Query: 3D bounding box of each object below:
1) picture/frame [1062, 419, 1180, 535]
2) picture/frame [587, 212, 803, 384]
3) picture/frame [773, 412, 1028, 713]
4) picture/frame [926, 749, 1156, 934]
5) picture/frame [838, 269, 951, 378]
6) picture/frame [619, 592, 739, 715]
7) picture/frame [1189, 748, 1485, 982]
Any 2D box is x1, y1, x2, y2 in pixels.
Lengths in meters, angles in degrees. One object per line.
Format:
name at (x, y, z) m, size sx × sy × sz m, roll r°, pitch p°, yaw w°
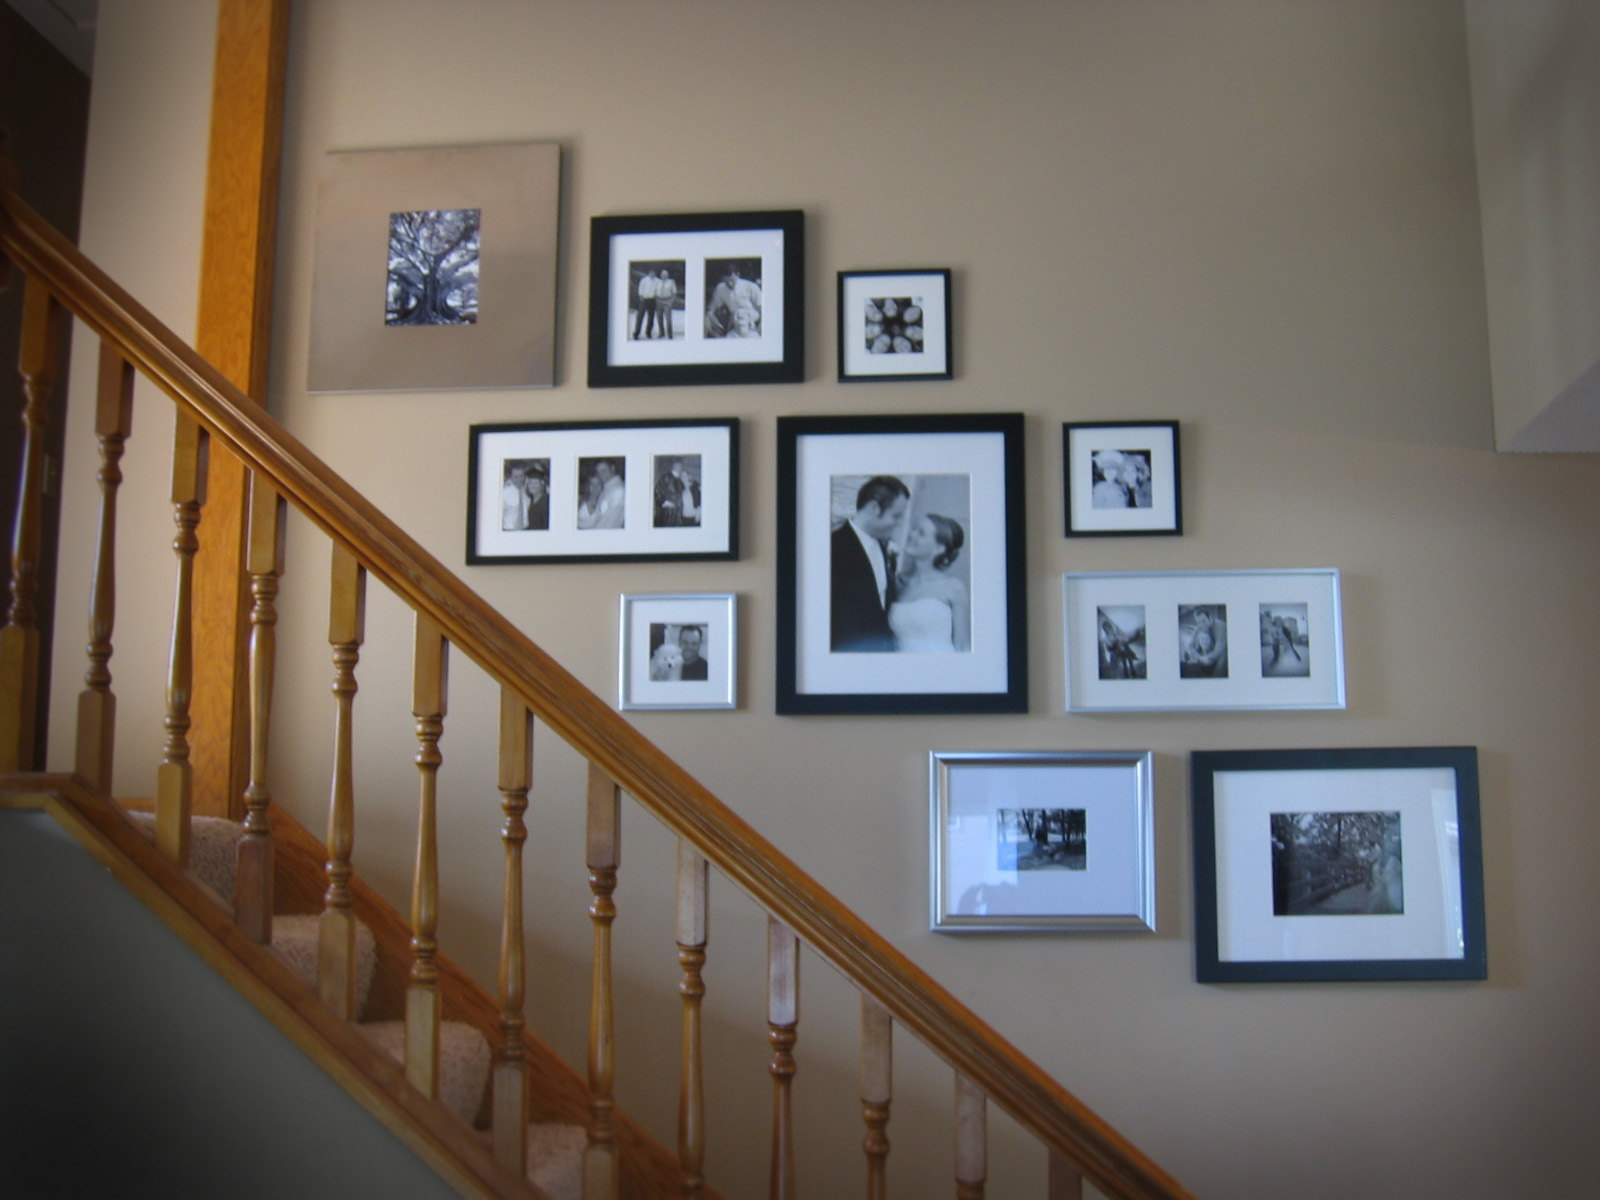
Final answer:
picture/frame at (0.929, -0.344, 4.353) m, size 0.279 × 0.324 × 0.013 m, roll 0°, pitch -6°, yaw 0°
picture/frame at (-0.291, -0.876, 4.455) m, size 0.438 × 0.429 × 0.036 m, roll 0°, pitch -1°, yaw 4°
picture/frame at (0.305, -0.076, 4.358) m, size 0.733 × 1.042 × 0.039 m, roll 1°, pitch -5°, yaw 0°
picture/frame at (0.691, 0.705, 4.265) m, size 0.435 × 0.405 × 0.034 m, roll 0°, pitch -7°, yaw 1°
picture/frame at (0.280, -0.798, 4.415) m, size 0.273 × 0.299 × 0.024 m, roll 0°, pitch -4°, yaw 1°
picture/frame at (-0.346, 0.170, 4.364) m, size 0.299 × 0.348 × 0.025 m, roll 0°, pitch -6°, yaw 1°
picture/frame at (1.517, 0.769, 4.240) m, size 0.542 × 0.537 × 0.041 m, roll -1°, pitch -5°, yaw 1°
